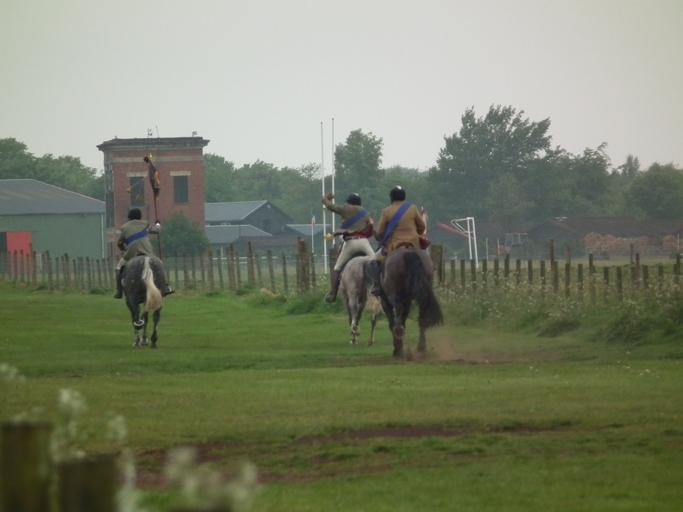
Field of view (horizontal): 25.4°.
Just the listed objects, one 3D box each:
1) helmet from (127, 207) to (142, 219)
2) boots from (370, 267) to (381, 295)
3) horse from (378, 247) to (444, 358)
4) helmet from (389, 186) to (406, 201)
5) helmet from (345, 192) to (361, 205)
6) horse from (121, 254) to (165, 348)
[{"bbox_3d":[-6.098,-1.175,44.118,0.302,0.366,0.368,-1,10,-6],"label":"helmet"},{"bbox_3d":[1.004,0.764,42.474,0.203,0.800,0.416,2,8,-13],"label":"boots"},{"bbox_3d":[1.734,0.983,43.123,1.116,2.876,4.220,-2,-1,-11],"label":"horse"},{"bbox_3d":[1.632,-1.680,42.759,0.352,0.444,0.448,1,3,-7],"label":"helmet"},{"bbox_3d":[0.389,-1.645,45.381,0.323,0.393,0.386,3,-1,1],"label":"helmet"},{"bbox_3d":[-5.724,1.314,43.498,1.272,2.664,1.877,-2,15,-9],"label":"horse"}]
